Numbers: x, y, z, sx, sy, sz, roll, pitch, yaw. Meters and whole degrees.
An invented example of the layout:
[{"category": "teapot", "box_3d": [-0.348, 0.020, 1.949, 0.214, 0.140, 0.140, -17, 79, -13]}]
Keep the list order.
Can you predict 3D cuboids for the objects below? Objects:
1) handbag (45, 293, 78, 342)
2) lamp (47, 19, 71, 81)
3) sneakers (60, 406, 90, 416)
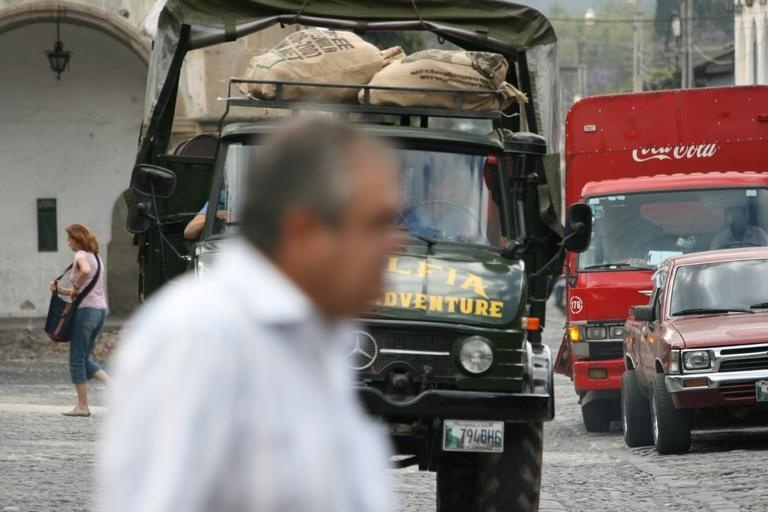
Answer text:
[{"category": "handbag", "box_3d": [-4.807, 0.927, 28.819, 0.556, 0.667, 0.253, 14, 0, 27]}, {"category": "lamp", "box_3d": [-6.165, -4.018, 36.611, 0.400, 1.166, 0.374, 1, 9, -6]}, {"category": "sneakers", "box_3d": [-4.591, 2.294, 28.626, 0.461, 0.173, 0.154, 1, 1, 10]}]
